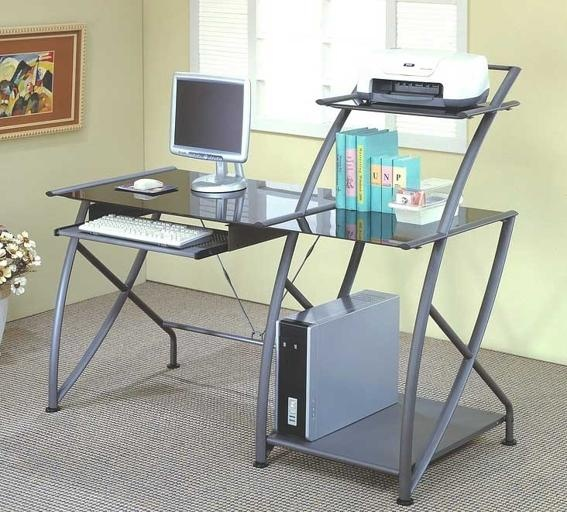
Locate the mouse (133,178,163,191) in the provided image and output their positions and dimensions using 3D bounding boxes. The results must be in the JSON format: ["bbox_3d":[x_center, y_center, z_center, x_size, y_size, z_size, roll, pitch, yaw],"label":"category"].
[{"bbox_3d":[-0.568,-0.307,2.466,0.066,0.025,0.090,9,14,34],"label":"mouse"}]

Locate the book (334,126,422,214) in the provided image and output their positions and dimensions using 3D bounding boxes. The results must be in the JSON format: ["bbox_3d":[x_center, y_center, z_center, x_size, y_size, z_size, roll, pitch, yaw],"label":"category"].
[{"bbox_3d":[0.324,-0.291,2.100,0.354,0.314,0.300,6,13,35],"label":"book"}]

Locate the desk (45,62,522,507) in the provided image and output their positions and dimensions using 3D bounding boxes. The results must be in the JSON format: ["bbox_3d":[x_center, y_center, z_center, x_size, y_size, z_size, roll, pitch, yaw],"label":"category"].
[{"bbox_3d":[0.029,0.114,2.547,1.881,1.479,0.965,10,16,36],"label":"desk"}]

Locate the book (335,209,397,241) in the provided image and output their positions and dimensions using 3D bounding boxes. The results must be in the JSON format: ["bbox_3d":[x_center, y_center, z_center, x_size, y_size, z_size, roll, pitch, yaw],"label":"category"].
[{"bbox_3d":[0.256,-0.096,1.877,0.144,0.031,0.131,9,18,32],"label":"book"}]
